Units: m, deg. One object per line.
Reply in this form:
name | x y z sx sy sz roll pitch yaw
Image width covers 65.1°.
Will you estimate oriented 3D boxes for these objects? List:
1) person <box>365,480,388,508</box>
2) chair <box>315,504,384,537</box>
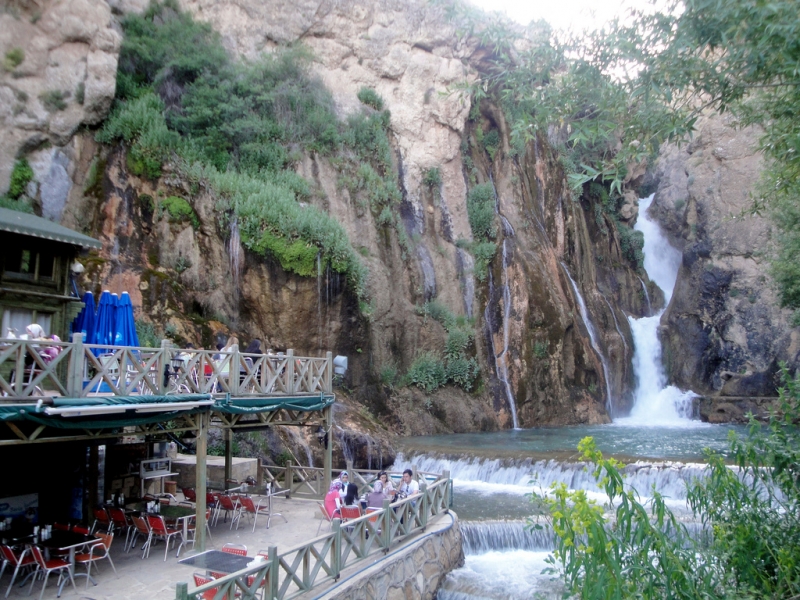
person | -0.529 4.615 14.828 0.507 0.538 1.024 -2 -11 -2
chair | -0.963 5.022 14.137 1.047 0.746 2.245 2 -13 -23
